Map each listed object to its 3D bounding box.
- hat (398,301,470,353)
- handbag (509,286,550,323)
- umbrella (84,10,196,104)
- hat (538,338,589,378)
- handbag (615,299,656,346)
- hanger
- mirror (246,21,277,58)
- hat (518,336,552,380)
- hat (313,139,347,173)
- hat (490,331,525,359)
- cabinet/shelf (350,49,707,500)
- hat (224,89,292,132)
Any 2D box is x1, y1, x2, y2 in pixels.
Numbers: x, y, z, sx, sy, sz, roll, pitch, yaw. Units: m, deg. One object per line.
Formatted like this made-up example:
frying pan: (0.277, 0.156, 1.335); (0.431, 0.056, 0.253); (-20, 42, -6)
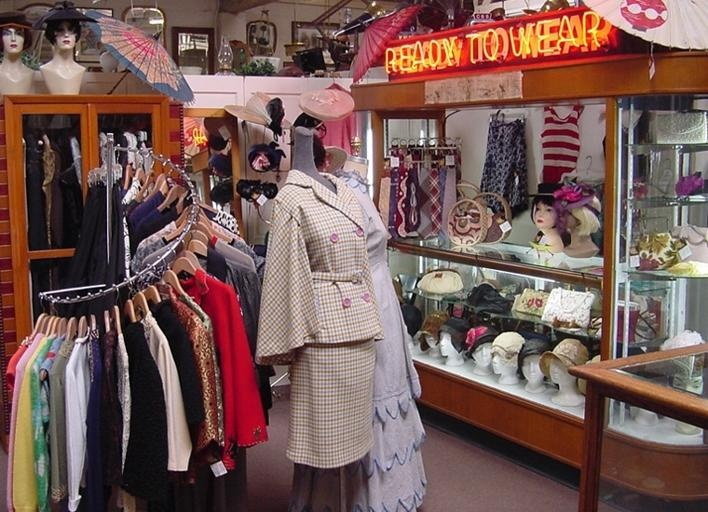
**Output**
hat: (0.593, 0.496, 4.213); (0.296, 0.197, 0.421); (-1, 6, -5)
handbag: (1.116, 0.307, 3.761); (0.184, 0.199, 0.060); (13, -2, 40)
umbrella: (-1.361, -1.279, 3.725); (0.620, 0.566, 0.433); (-3, 11, -14)
hat: (1.282, 0.628, 3.592); (0.277, 0.187, 0.176); (35, -21, -28)
handbag: (1.511, 0.359, 3.156); (0.188, 0.187, 0.220); (2, -7, -10)
hanger: (-1.167, -0.113, 2.827); (0.702, 0.869, 1.222); (-8, 14, -36)
mirror: (-1.300, -3.157, 8.486); (0.478, 0.531, 0.662); (-4, 12, -20)
hat: (1.117, 0.635, 3.681); (0.167, 0.239, 0.245); (1, 5, 14)
hat: (-0.149, -0.578, 3.346); (0.140, 0.176, 0.253); (9, 43, -19)
hat: (0.981, 0.531, 3.782); (0.171, 0.152, 0.132); (-21, 23, -28)
cabinet/shelf: (0.999, 0.112, 3.311); (0.751, 2.466, 2.302); (-4, 7, -34)
hat: (-0.794, -1.131, 4.492); (0.346, 0.158, 0.363); (16, 22, 2)
